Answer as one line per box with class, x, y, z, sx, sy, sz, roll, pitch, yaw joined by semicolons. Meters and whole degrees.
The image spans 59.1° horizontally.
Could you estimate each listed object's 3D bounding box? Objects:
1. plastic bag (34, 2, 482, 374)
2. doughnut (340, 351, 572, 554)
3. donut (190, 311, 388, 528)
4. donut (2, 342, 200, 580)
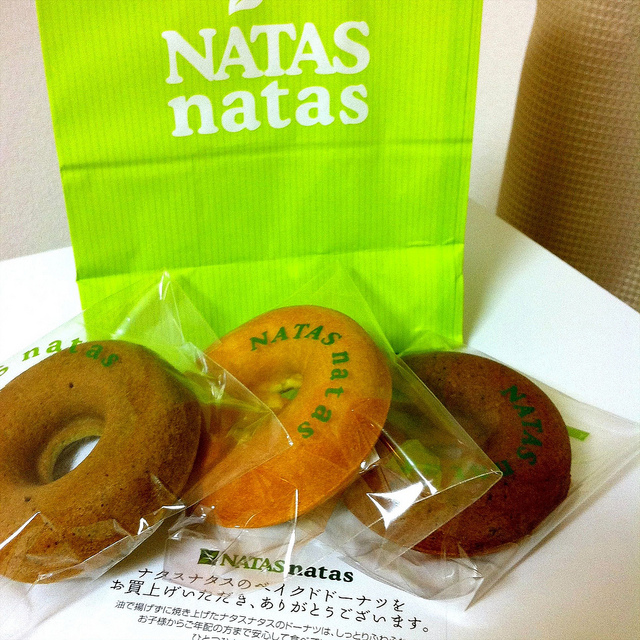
plastic bag;-0.059;-0.137;0.569;0.412;0.362;0.149;-4;36;-4
doughnut;0.120;0.065;0.462;0.178;0.058;0.170;-3;30;-4
donut;-0.013;0.077;0.529;0.173;0.060;0.165;-24;10;-24
donut;-0.153;0.125;0.497;0.174;0.060;0.166;-7;45;16
